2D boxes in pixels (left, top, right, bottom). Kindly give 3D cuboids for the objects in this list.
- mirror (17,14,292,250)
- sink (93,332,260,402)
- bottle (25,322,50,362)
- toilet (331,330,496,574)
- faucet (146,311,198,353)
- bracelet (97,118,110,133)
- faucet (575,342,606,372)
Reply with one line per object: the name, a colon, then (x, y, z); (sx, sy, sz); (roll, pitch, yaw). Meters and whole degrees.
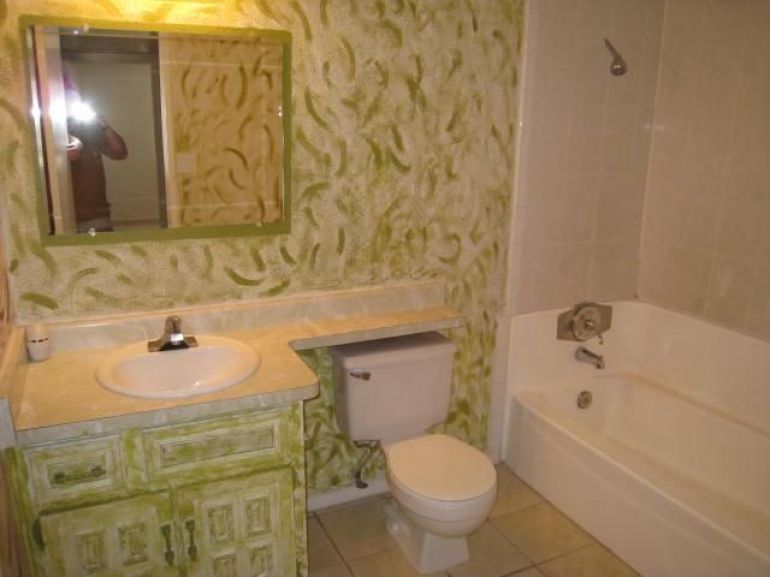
mirror: (-0.864, -0.591, 2.292); (0.990, 0.864, 0.039); (-9, 30, -29)
sink: (-0.777, 0.328, 2.187); (0.563, 0.162, 0.464); (-9, 17, -27)
bottle: (-1.328, 0.202, 2.207); (0.075, 0.143, 0.097); (11, 20, 37)
toilet: (0.137, 0.758, 2.573); (0.556, 0.952, 0.665); (-7, 17, -21)
faucet: (-0.853, 0.121, 2.266); (0.221, 0.155, 0.128); (-2, 12, -23)
bracelet: (-1.071, -0.620, 2.171); (0.024, 0.044, 0.043); (0, 0, 4)
faucet: (1.131, 0.375, 3.279); (0.216, 0.089, 0.086); (31, 31, 30)
